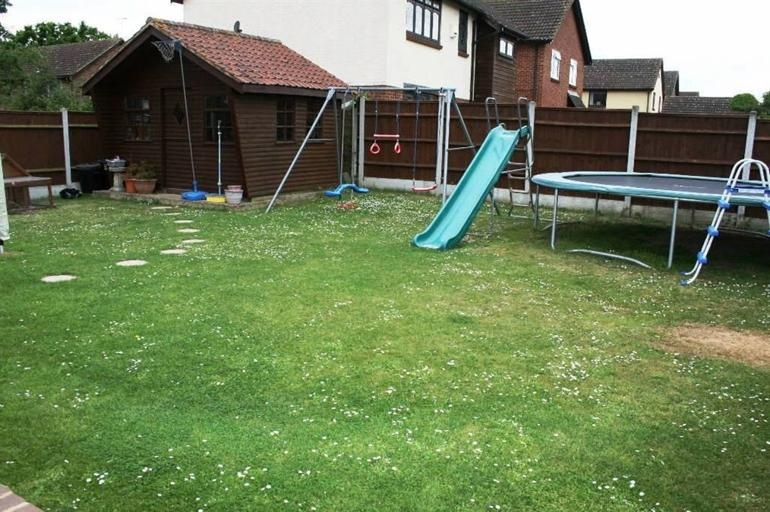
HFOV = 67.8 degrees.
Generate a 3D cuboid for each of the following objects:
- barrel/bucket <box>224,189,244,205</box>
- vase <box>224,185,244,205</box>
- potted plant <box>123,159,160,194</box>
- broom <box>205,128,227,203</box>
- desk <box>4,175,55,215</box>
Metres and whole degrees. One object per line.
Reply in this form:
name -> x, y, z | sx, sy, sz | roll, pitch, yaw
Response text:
barrel/bucket -> -3.537, -1.373, 13.499 | 0.361, 0.262, 0.359 | 0, 1, 0
vase -> -3.574, -1.425, 13.490 | 0.436, 0.369, 0.436 | 0, 2, 8
potted plant -> -6.336, -2.047, 14.942 | 0.882, 0.955, 0.833 | -1, 1, -11
broom -> -4.074, -2.257, 13.693 | 0.426, 1.874, 1.092 | -3, 12, -17
desk -> -7.830, -1.409, 12.564 | 0.781, 0.658, 1.101 | 1, 3, 5
